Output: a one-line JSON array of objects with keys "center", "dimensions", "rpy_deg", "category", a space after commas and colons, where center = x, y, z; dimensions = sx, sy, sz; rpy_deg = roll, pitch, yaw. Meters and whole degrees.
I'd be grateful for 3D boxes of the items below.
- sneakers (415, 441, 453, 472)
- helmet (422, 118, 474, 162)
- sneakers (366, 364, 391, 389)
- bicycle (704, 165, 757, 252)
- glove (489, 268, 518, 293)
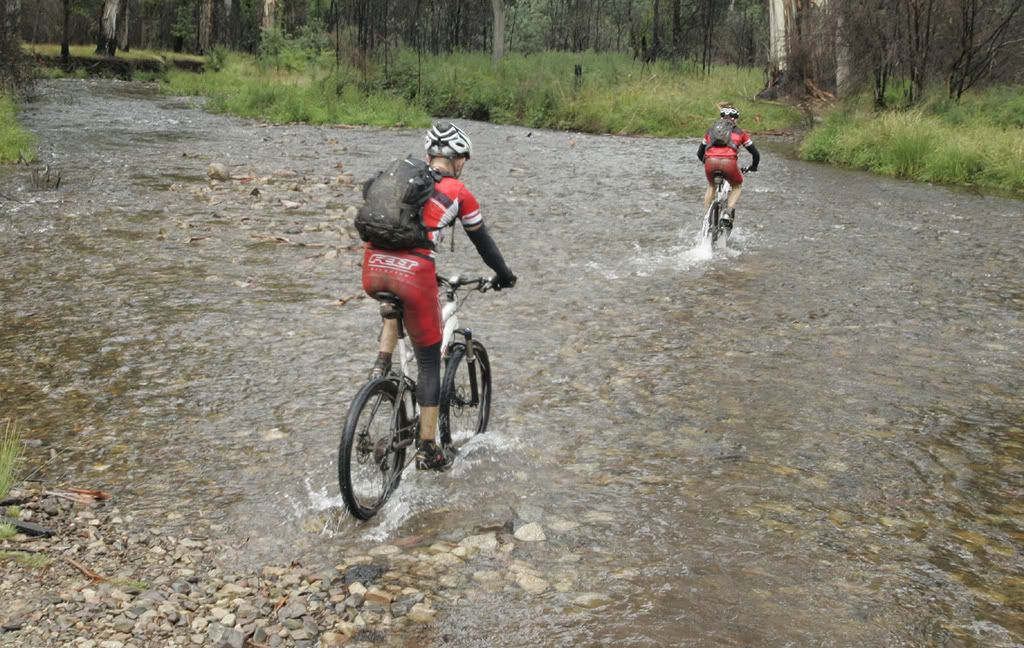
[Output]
[{"center": [-0.852, 1.447, 8.402], "dimensions": [0.199, 0.238, 0.550], "rpy_deg": [9, 15, 30], "category": "sneakers"}, {"center": [-0.672, -1.997, 8.394], "dimensions": [0.486, 0.425, 0.381], "rpy_deg": [-16, 25, -40], "category": "helmet"}, {"center": [-1.360, 0.513, 7.964], "dimensions": [0.176, 0.187, 0.453], "rpy_deg": [2, 19, 0], "category": "sneakers"}, {"center": [4.285, -2.345, 15.897], "dimensions": [0.521, 1.476, 1.548], "rpy_deg": [8, 20, 15], "category": "bicycle"}, {"center": [-0.103, -0.523, 9.657], "dimensions": [0.420, 0.258, 0.548], "rpy_deg": [3, 12, -2], "category": "glove"}]
